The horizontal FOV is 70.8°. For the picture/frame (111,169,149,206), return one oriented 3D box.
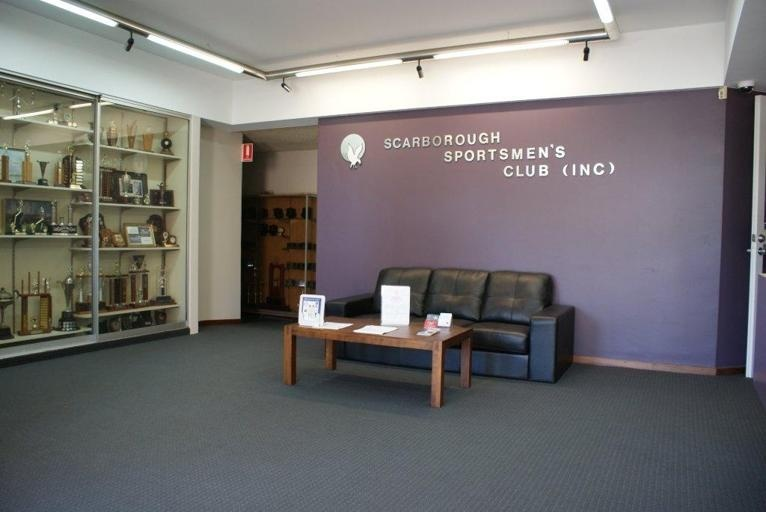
[{"bbox_3d":[-3.680,-1.024,7.938,0.530,0.468,0.212,7,14,9],"label":"picture/frame"}]

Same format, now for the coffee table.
[{"bbox_3d":[-0.017,1.105,6.142,1.962,0.750,0.985,4,11,17],"label":"coffee table"}]

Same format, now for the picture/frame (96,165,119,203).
[{"bbox_3d":[-3.882,-1.018,7.678,0.315,0.467,0.310,-1,7,-33],"label":"picture/frame"}]

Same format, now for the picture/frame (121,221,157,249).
[{"bbox_3d":[-3.635,-0.322,7.967,0.043,0.300,0.423,-12,-4,30],"label":"picture/frame"}]

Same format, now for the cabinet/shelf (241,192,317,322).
[{"bbox_3d":[-2.140,-0.037,10.279,1.528,2.300,0.739,7,12,32],"label":"cabinet/shelf"}]
